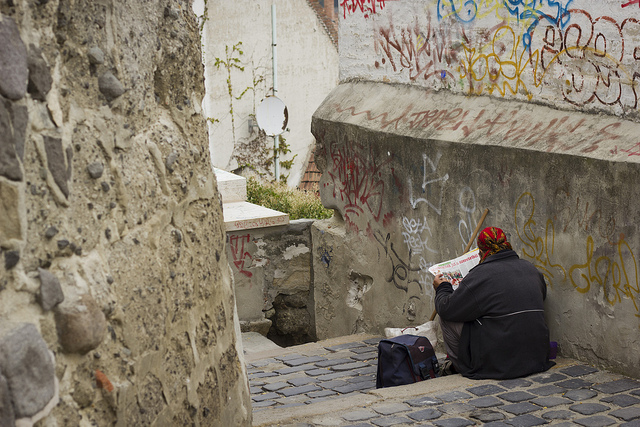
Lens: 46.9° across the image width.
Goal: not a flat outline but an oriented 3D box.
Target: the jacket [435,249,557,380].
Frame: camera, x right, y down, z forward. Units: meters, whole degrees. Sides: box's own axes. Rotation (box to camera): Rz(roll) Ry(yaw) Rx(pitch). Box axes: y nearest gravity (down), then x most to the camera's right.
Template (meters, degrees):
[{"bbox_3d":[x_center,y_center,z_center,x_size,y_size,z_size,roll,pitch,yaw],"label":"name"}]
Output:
[{"bbox_3d":[1.506,0.849,6.401,0.900,1.068,1.013,-3,-2,10],"label":"jacket"}]

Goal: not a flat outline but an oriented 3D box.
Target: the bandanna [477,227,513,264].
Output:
[{"bbox_3d":[1.455,0.255,6.294,0.247,0.339,0.342,-3,6,-4],"label":"bandanna"}]

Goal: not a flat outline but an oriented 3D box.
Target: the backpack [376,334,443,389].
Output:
[{"bbox_3d":[0.774,1.310,6.468,0.431,0.532,0.513,-1,4,32],"label":"backpack"}]
